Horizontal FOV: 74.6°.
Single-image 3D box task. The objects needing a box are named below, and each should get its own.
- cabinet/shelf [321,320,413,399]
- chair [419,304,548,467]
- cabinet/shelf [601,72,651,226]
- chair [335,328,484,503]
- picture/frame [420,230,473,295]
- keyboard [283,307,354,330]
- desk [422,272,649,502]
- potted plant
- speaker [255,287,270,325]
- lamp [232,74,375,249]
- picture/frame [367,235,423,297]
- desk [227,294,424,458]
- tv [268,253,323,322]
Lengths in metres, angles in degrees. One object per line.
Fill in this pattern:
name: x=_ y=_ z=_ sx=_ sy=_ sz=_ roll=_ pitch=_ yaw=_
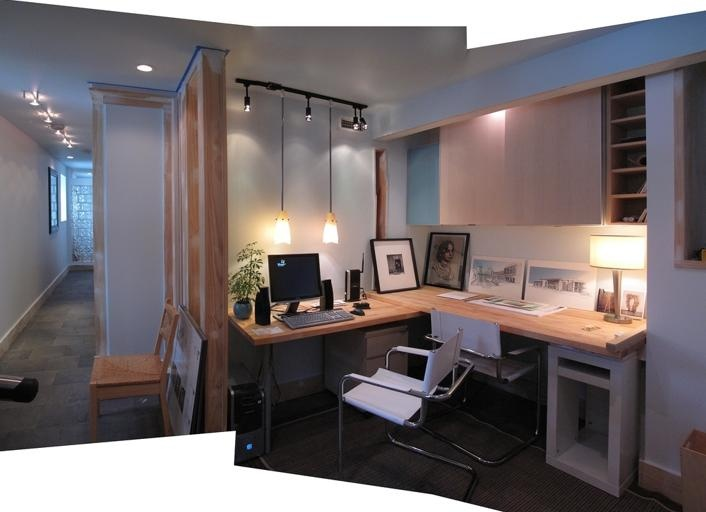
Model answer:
cabinet/shelf: x=0.028 y=0.849 z=3.944 sx=0.588 sy=0.823 sz=0.646 roll=-4 pitch=4 yaw=-39
chair: x=0.946 y=0.879 z=3.449 sx=0.712 sy=0.940 sz=0.638 roll=8 pitch=9 yaw=44
cabinet/shelf: x=1.890 y=-0.713 z=3.164 sx=0.356 sy=0.965 sz=0.415 roll=12 pitch=17 yaw=42
chair: x=0.399 y=0.894 z=3.488 sx=1.078 sy=1.472 sz=0.854 roll=3 pitch=5 yaw=28
picture/frame: x=0.913 y=0.069 z=4.467 sx=0.043 sy=0.646 sz=0.573 roll=8 pitch=-9 yaw=-36
keyboard: x=-0.275 y=0.463 z=3.512 sx=0.523 sy=0.037 sz=0.306 roll=-6 pitch=14 yaw=-27
desk: x=1.293 y=0.926 z=3.202 sx=0.448 sy=0.779 sz=1.376 roll=1 pitch=1 yaw=-43
potted plant: x=-0.833 y=0.180 z=3.636 sx=0.291 sy=0.526 sz=0.419 roll=-2 pitch=13 yaw=-12
speaker: x=-0.674 y=0.362 z=3.421 sx=0.115 sy=0.264 sz=0.174 roll=-3 pitch=13 yaw=-14
lamp: x=-0.354 y=-0.745 z=3.947 sx=1.249 sy=1.345 sz=0.386 roll=-8 pitch=15 yaw=-32
picture/frame: x=0.373 y=0.105 z=4.421 sx=0.598 sy=0.546 sz=0.057 roll=-1 pitch=-17 yaw=-33
desk: x=-0.235 y=0.792 z=3.685 sx=1.369 sy=0.670 sz=0.757 roll=-1 pitch=9 yaw=-29
tv: x=-0.459 y=0.242 z=3.598 sx=0.492 sy=0.499 sz=0.178 roll=2 pitch=-8 yaw=-30
